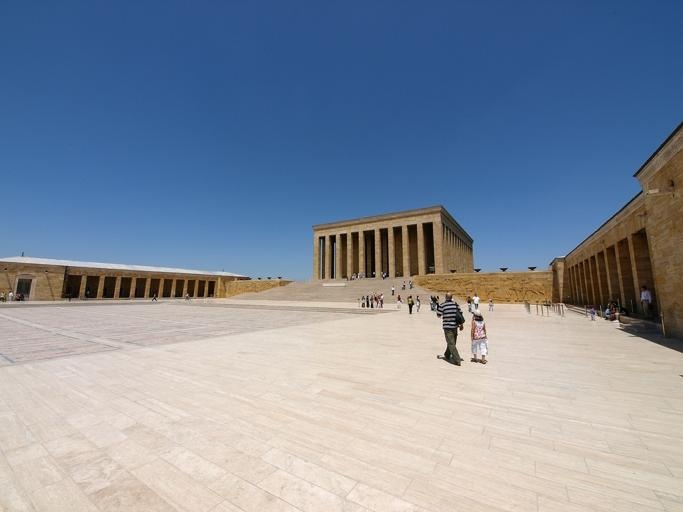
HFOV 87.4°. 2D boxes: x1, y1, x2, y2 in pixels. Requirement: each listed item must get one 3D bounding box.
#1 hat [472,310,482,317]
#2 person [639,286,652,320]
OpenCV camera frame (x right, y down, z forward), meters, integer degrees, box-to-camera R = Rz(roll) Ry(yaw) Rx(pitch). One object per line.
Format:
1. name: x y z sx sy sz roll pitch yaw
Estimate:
1. hat: 3.071 1.292 8.114 0.227 0.116 0.318 -7 -18 20
2. person: 12.058 1.818 14.146 0.398 1.195 1.880 8 12 38
